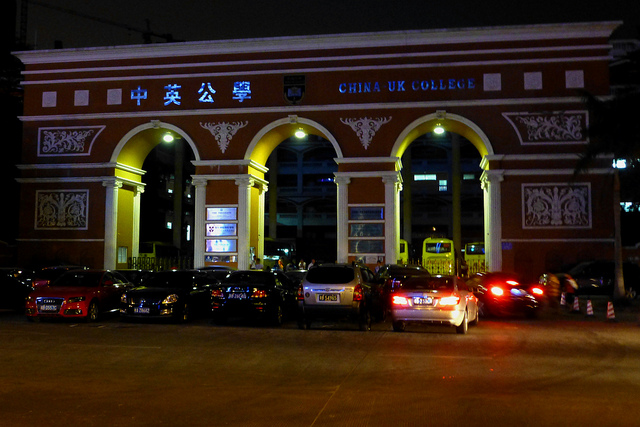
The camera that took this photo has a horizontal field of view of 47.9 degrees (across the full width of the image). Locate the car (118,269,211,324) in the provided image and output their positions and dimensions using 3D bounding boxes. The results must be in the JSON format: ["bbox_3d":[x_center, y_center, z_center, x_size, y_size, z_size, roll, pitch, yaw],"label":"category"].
[{"bbox_3d":[-5.716,3.209,27.293,1.811,1.744,3.301,6,9,40],"label":"car"}]

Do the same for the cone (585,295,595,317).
[{"bbox_3d":[11.176,3.939,29.873,0.541,1.020,0.553,-3,-2,14],"label":"cone"}]

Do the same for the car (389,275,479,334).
[{"bbox_3d":[4.010,3.217,25.018,3.078,1.993,1.712,-1,7,-10],"label":"car"}]

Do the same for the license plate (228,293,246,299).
[{"bbox_3d":[-3.014,2.989,26.035,0.633,0.207,0.092,2,7,10],"label":"license plate"}]

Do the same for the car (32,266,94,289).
[{"bbox_3d":[-11.393,2.733,30.868,1.083,0.832,2.435,-2,-7,21],"label":"car"}]

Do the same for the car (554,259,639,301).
[{"bbox_3d":[13.741,3.301,35.693,4.207,1.804,1.965,2,-5,5],"label":"car"}]

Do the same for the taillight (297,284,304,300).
[{"bbox_3d":[-0.689,2.804,25.602,0.308,0.496,0.134,5,6,9],"label":"taillight"}]

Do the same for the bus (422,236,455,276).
[{"bbox_3d":[8.317,2.610,49.593,1.838,2.505,5.224,-1,-9,6],"label":"bus"}]

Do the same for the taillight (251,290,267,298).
[{"bbox_3d":[-2.212,2.917,26.034,0.542,0.262,0.128,0,7,-6],"label":"taillight"}]

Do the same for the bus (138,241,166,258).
[{"bbox_3d":[-12.145,2.614,51.713,1.545,1.048,2.899,2,7,11],"label":"bus"}]

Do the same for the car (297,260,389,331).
[{"bbox_3d":[0.923,2.970,25.743,3.280,2.306,1.731,-3,8,-30],"label":"car"}]

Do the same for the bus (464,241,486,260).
[{"bbox_3d":[11.472,2.776,53.393,1.268,1.594,3.347,0,0,11],"label":"bus"}]

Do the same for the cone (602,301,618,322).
[{"bbox_3d":[11.294,3.824,28.071,0.600,0.909,0.577,-5,9,-41],"label":"cone"}]

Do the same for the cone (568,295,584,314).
[{"bbox_3d":[11.141,3.976,31.241,0.600,0.771,0.654,1,4,20],"label":"cone"}]

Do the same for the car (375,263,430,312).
[{"bbox_3d":[3.042,2.827,26.910,1.781,1.336,3.958,0,-2,2],"label":"car"}]

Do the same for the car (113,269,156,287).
[{"bbox_3d":[-8.101,2.807,32.445,1.045,0.786,2.357,-4,-12,27],"label":"car"}]

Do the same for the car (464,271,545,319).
[{"bbox_3d":[7.710,3.401,29.754,1.760,1.339,3.923,0,-2,-6],"label":"car"}]

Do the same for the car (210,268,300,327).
[{"bbox_3d":[-2.489,3.268,26.692,3.189,2.066,1.820,-1,7,-15],"label":"car"}]

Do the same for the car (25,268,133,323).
[{"bbox_3d":[-9.219,3.190,27.064,3.357,1.706,1.768,-2,7,-23],"label":"car"}]
